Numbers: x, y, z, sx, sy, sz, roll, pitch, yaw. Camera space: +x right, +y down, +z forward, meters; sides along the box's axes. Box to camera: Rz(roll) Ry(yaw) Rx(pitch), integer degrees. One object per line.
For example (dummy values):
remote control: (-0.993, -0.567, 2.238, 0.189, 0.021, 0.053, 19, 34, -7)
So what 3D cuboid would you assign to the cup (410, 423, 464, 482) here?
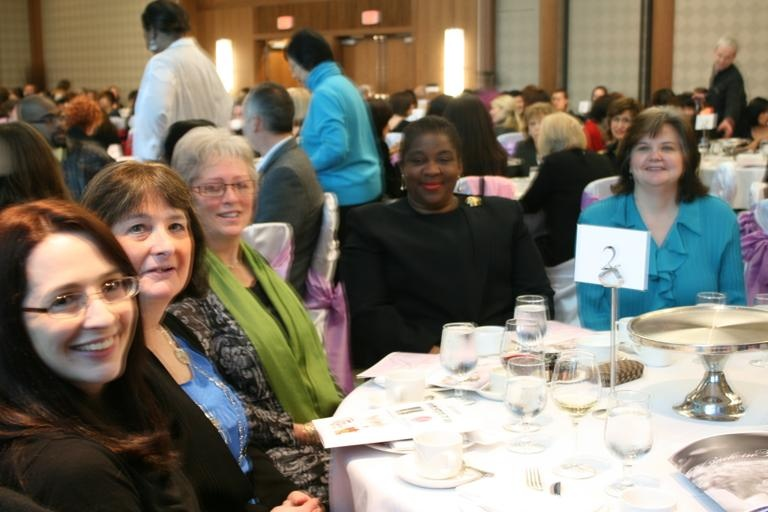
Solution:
cup: (0.136, 0.487, 1.564, 0.086, 0.074, 0.119, 0, 6, 4)

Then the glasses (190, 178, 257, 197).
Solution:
glasses: (-0.620, -0.258, 2.428, 0.216, 0.059, 0.065, -8, 11, -23)

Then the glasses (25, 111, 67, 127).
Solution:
glasses: (-2.237, -0.917, 4.226, 0.092, 0.092, 0.256, 1, 11, 23)

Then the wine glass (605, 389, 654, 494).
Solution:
wine glass: (0.571, 0.423, 1.479, 0.093, 0.216, 0.192, 1, 11, 24)

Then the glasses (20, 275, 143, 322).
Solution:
glasses: (-0.644, 0.089, 1.439, 0.176, 0.050, 0.197, -25, 8, -4)
